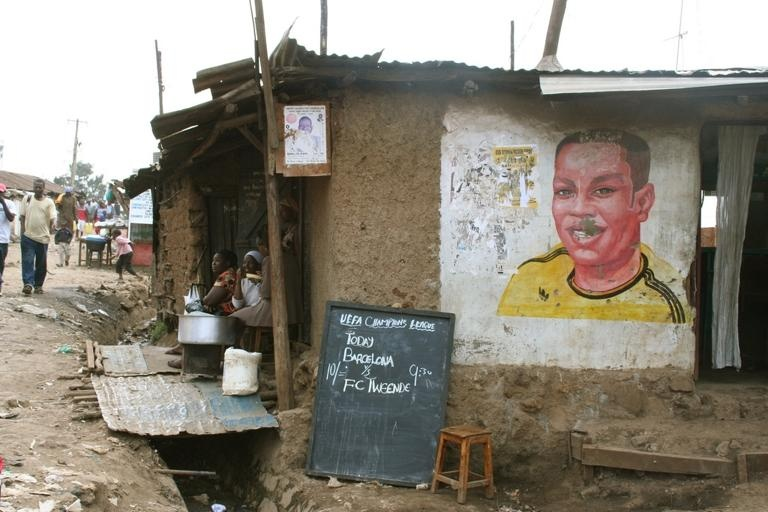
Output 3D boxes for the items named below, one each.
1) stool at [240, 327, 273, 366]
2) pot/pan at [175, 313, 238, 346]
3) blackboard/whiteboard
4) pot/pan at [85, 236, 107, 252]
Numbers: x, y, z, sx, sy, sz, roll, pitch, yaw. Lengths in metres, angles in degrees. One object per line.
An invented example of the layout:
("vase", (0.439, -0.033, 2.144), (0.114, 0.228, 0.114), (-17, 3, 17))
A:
("stool", (-2.003, 1.366, 12.914), (0.571, 0.787, 0.534), (2, -6, -3))
("pot/pan", (-2.554, 1.041, 12.132), (0.828, 0.417, 0.260), (3, 0, -9))
("blackboard/whiteboard", (0.011, 1.908, 11.105), (2.225, 2.772, 0.138), (7, -17, 4))
("pot/pan", (-7.747, -0.353, 22.530), (0.473, 0.312, 0.406), (0, 1, 10))
